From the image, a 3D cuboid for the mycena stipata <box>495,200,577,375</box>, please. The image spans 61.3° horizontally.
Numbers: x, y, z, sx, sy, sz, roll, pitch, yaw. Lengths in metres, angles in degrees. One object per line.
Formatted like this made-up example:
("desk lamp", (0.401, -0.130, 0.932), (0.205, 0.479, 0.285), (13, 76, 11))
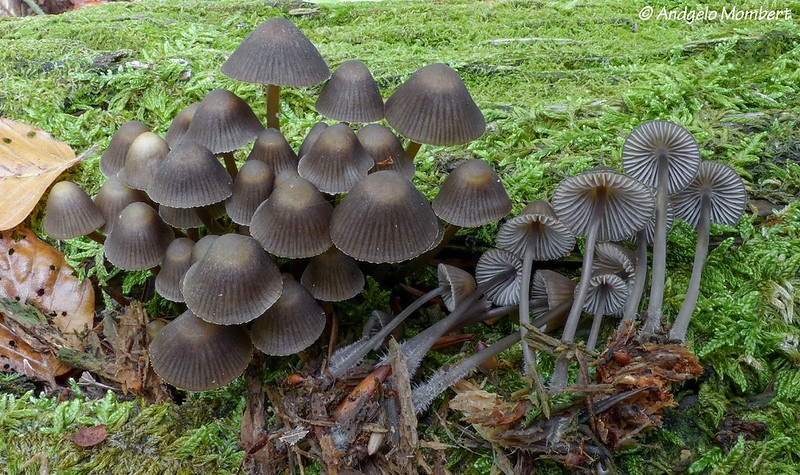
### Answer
("mycena stipata", (1.123, 0.364, 5.746), (0.458, 0.991, 0.461), (-3, 9, -42))
